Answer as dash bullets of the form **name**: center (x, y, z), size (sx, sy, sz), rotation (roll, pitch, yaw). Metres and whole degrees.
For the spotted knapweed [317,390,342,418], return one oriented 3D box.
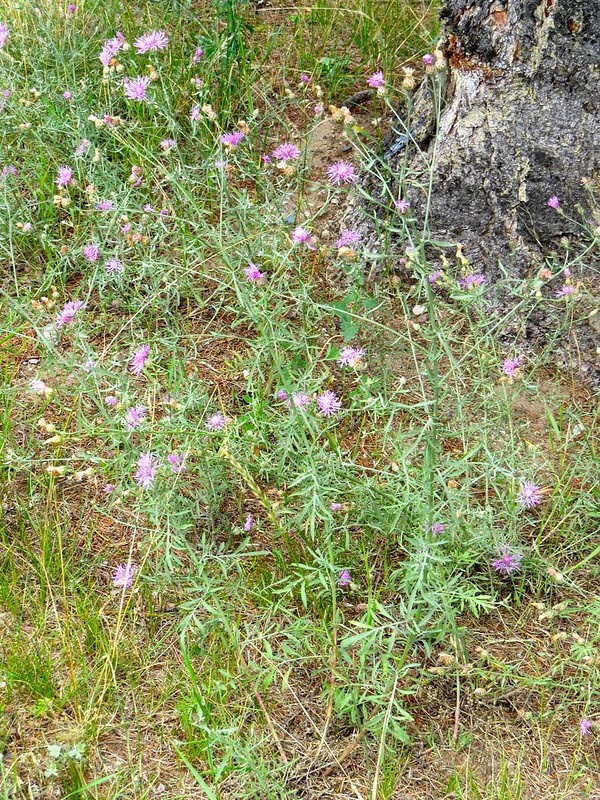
- **spotted knapweed**: center (0.085, 0.008, 2.356), size (0.071, 0.029, 0.067), rotation (2, 76, -8)

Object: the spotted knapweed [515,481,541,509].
- **spotted knapweed**: center (0.603, 0.251, 2.278), size (0.075, 0.030, 0.071), rotation (-19, 69, 26)

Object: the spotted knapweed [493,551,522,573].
- **spotted knapweed**: center (0.530, 0.412, 2.189), size (0.070, 0.030, 0.065), rotation (-22, 65, 20)
